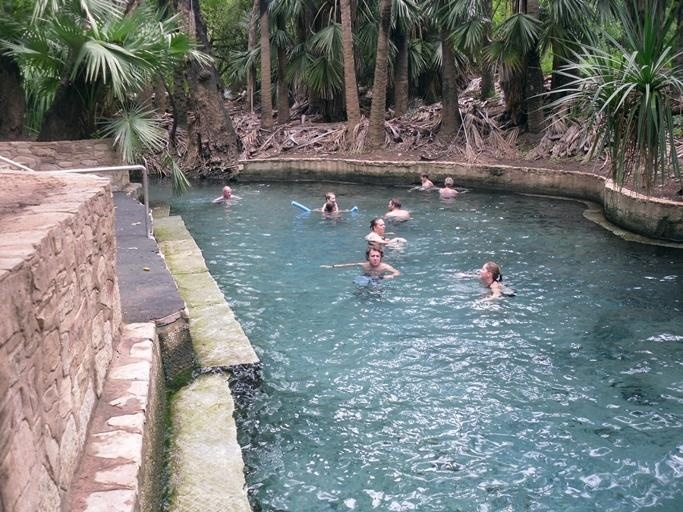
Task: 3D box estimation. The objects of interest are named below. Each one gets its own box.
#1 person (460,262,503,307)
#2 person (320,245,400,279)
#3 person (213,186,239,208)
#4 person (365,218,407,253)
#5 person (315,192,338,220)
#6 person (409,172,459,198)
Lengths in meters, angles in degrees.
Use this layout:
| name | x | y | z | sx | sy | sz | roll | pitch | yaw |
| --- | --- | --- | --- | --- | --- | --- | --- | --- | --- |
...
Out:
| name | x | y | z | sx | sy | sz | roll | pitch | yaw |
| --- | --- | --- | --- | --- | --- | --- | --- | --- | --- |
| person | 2.055 | 0.376 | 8.533 | 0.471 | 0.335 | 0.814 | 5 | 17 | 16 |
| person | 0.405 | 0.029 | 9.397 | 0.697 | 0.475 | 1.146 | -20 | 25 | -38 |
| person | -3.183 | -1.606 | 16.277 | 0.339 | 0.422 | 0.884 | 14 | 19 | 38 |
| person | 0.967 | -0.344 | 10.939 | 1.035 | 0.573 | 0.526 | 9 | 22 | 19 |
| person | -0.313 | -1.165 | 13.708 | 0.609 | 0.433 | 1.123 | -7 | 20 | -8 |
| person | 2.686 | -1.871 | 16.556 | 0.978 | 0.378 | 0.966 | 3 | 18 | 13 |
